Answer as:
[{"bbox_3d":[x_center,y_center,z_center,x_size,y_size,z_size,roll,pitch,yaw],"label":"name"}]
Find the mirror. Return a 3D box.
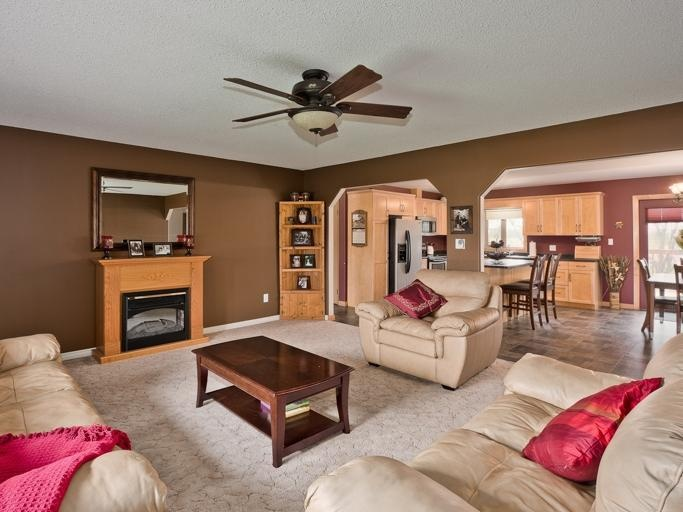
[{"bbox_3d":[-2.522,-0.596,5.571,1.400,1.062,0.101,1,7,7],"label":"mirror"}]

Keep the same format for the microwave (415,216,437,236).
[{"bbox_3d":[1.791,-0.648,9.127,0.368,0.424,0.661,-2,-4,34],"label":"microwave"}]

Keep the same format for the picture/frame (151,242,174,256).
[{"bbox_3d":[-2.308,-0.103,5.687,0.210,0.137,0.027,0,-3,-45],"label":"picture/frame"}]

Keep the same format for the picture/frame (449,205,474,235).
[{"bbox_3d":[1.476,-0.458,5.424,0.421,0.463,0.021,0,0,42],"label":"picture/frame"}]

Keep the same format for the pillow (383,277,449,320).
[{"bbox_3d":[0.827,0.471,4.793,0.444,0.114,0.428,-31,46,-34],"label":"pillow"}]

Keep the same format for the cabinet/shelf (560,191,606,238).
[{"bbox_3d":[4.500,-0.791,8.223,1.002,0.989,0.427,-1,-1,43],"label":"cabinet/shelf"}]

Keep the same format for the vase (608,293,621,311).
[{"bbox_3d":[4.925,0.788,7.949,0.202,0.296,0.287,0,3,18],"label":"vase"}]

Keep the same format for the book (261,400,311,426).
[{"bbox_3d":[-0.422,1.180,3.323,0.323,0.066,0.291,3,-6,-39],"label":"book"}]

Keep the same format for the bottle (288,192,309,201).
[{"bbox_3d":[-0.621,-0.949,6.983,0.163,0.079,0.220,-2,-1,43],"label":"bottle"}]

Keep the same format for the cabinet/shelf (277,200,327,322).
[{"bbox_3d":[-0.611,0.065,6.989,0.726,1.841,0.272,-1,4,-6],"label":"cabinet/shelf"}]

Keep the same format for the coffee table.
[{"bbox_3d":[-0.607,1.098,3.691,1.344,0.446,0.827,7,6,43],"label":"coffee table"}]

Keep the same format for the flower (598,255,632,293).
[{"bbox_3d":[4.825,0.323,8.037,0.657,0.810,0.682,0,-1,36],"label":"flower"}]

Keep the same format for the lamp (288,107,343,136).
[{"bbox_3d":[-0.202,-1.056,3.492,0.335,0.136,0.319,-1,-5,1],"label":"lamp"}]

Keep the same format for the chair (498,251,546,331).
[{"bbox_3d":[2.665,0.490,6.504,0.602,0.888,0.555,0,2,39],"label":"chair"}]

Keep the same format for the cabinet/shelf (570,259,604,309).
[{"bbox_3d":[4.334,0.496,7.977,0.439,0.848,0.204,1,4,26],"label":"cabinet/shelf"}]

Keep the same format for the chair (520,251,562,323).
[{"bbox_3d":[3.062,0.485,6.941,0.676,0.930,0.598,0,0,23],"label":"chair"}]
